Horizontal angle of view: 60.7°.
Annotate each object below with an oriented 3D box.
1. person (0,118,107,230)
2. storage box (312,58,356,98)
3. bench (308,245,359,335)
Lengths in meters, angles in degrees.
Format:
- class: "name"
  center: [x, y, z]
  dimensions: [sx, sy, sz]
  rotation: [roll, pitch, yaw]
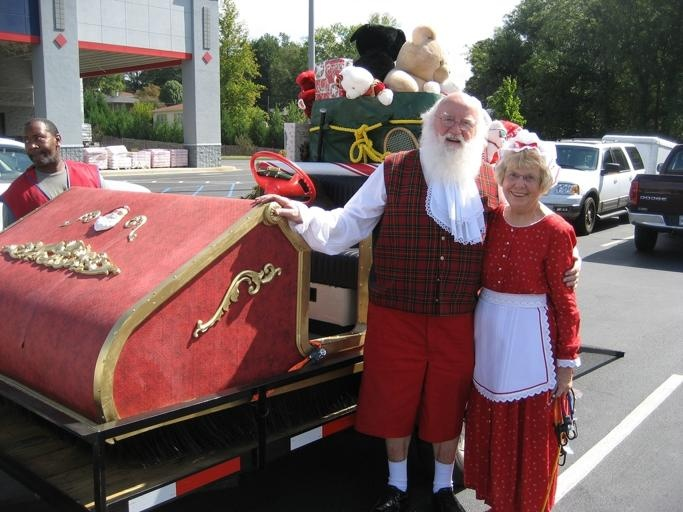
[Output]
- class: "person"
  center: [-2.023, -0.575, 4.023]
  dimensions: [0.665, 0.719, 0.419]
  rotation: [-5, 13, -25]
- class: "storage box"
  center: [-0.072, -1.421, 4.700]
  dimensions: [0.270, 0.298, 0.226]
  rotation: [1, 12, 19]
- class: "bench"
  center: [-0.021, 0.271, 4.268]
  dimensions: [0.520, 0.555, 0.317]
  rotation: [6, 0, 21]
